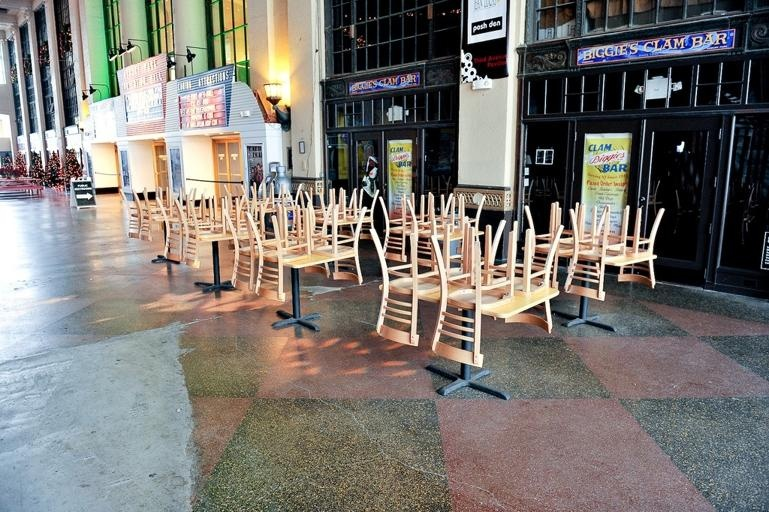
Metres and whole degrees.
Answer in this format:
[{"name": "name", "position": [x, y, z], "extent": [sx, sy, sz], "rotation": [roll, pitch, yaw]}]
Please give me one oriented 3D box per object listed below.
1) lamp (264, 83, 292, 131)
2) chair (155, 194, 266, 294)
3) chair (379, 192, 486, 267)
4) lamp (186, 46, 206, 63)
[{"name": "lamp", "position": [-2.994, -4.196, 14.681], "extent": [0.667, 1.300, 0.362], "rotation": [-3, 13, -11]}, {"name": "chair", "position": [-3.127, -0.170, 9.300], "extent": [1.753, 1.179, 1.013], "rotation": [18, 24, 41]}, {"name": "chair", "position": [0.796, -0.303, 10.024], "extent": [1.876, 1.141, 1.826], "rotation": [-14, 20, -39]}, {"name": "lamp", "position": [-6.901, -7.325, 18.829], "extent": [0.572, 0.523, 0.903], "rotation": [0, 11, 4]}]
